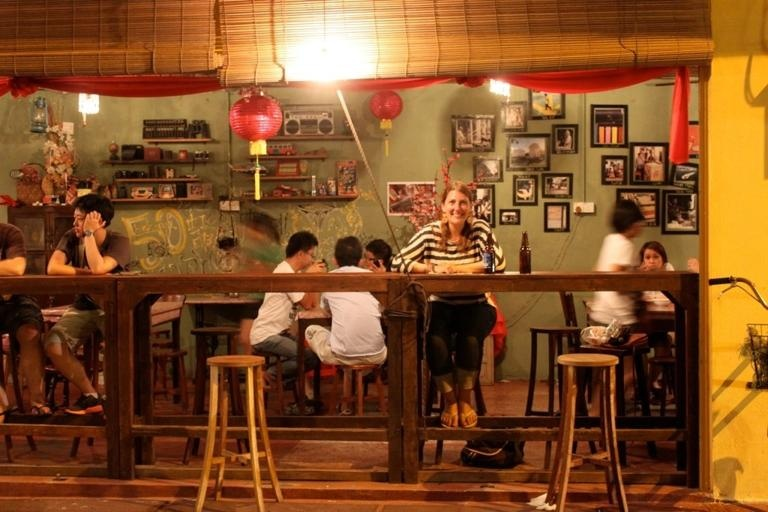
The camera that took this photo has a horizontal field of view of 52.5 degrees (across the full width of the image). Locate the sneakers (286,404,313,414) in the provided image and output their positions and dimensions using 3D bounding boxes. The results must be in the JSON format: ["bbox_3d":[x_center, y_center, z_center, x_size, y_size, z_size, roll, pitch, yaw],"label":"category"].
[{"bbox_3d":[-0.869,1.564,7.955,0.239,0.068,0.216,1,-4,5],"label":"sneakers"}]

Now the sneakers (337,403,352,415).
[{"bbox_3d":[-0.410,1.599,8.178,0.118,0.085,0.151,-1,4,-4],"label":"sneakers"}]

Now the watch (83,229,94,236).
[{"bbox_3d":[-2.617,-0.206,6.926,0.060,0.014,0.059,20,32,30],"label":"watch"}]

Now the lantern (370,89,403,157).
[{"bbox_3d":[0.048,-1.692,9.926,0.413,0.783,0.836,-2,6,2],"label":"lantern"}]

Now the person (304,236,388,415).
[{"bbox_3d":[-0.392,0.689,7.933,0.943,1.740,1.176,0,0,0],"label":"person"}]

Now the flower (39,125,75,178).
[{"bbox_3d":[-4.331,-1.423,10.440,0.367,0.745,0.322,-3,6,-12],"label":"flower"}]

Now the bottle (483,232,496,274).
[{"bbox_3d":[0.896,-0.030,6.588,0.096,0.316,0.266,-1,6,8],"label":"bottle"}]

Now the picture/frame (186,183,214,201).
[{"bbox_3d":[-2.441,-0.844,10.382,0.401,0.203,0.267,2,-11,-3],"label":"picture/frame"}]

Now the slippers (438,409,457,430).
[{"bbox_3d":[0.526,1.339,6.400,0.154,0.104,0.268,1,-4,6],"label":"slippers"}]

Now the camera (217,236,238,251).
[{"bbox_3d":[-2.069,-0.174,10.286,0.272,0.178,0.178,-3,4,-1],"label":"camera"}]

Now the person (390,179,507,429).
[{"bbox_3d":[0.687,0.410,6.784,0.971,1.950,1.064,2,8,41],"label":"person"}]

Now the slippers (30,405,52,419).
[{"bbox_3d":[-2.973,1.348,6.778,0.092,0.096,0.228,3,-7,-43],"label":"slippers"}]

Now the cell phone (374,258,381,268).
[{"bbox_3d":[-0.066,0.074,8.369,0.066,0.081,0.075,9,-13,-11],"label":"cell phone"}]

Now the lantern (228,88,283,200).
[{"bbox_3d":[-1.378,-1.257,8.442,0.491,1.244,1.875,-3,6,-10],"label":"lantern"}]
